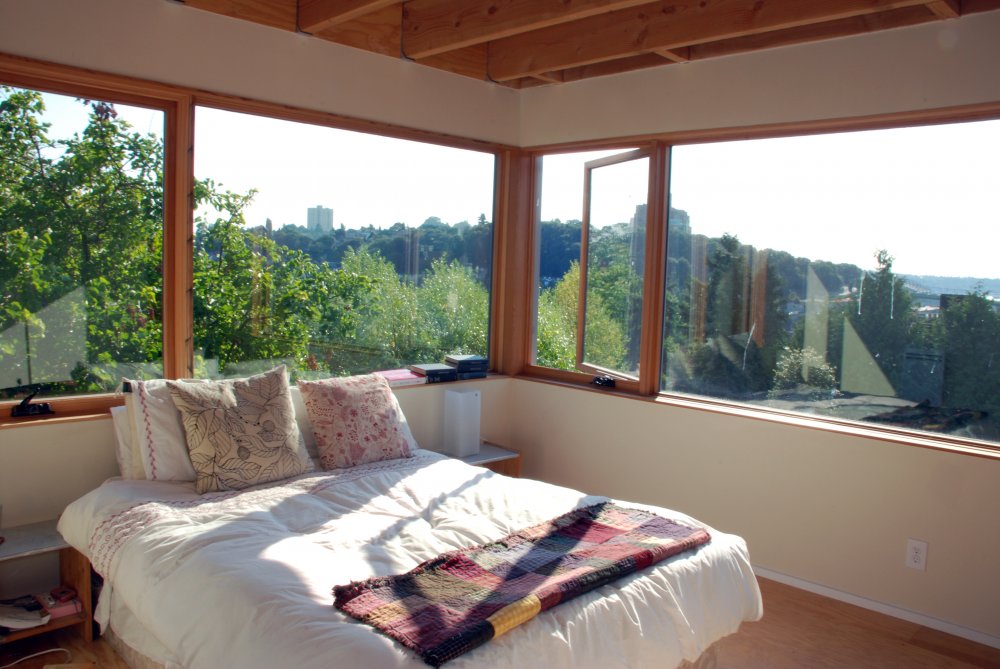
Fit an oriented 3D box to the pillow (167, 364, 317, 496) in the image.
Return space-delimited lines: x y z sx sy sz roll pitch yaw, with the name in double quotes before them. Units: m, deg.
"pillow" -1.523 0.582 4.150 0.363 0.630 0.708 5 8 45
